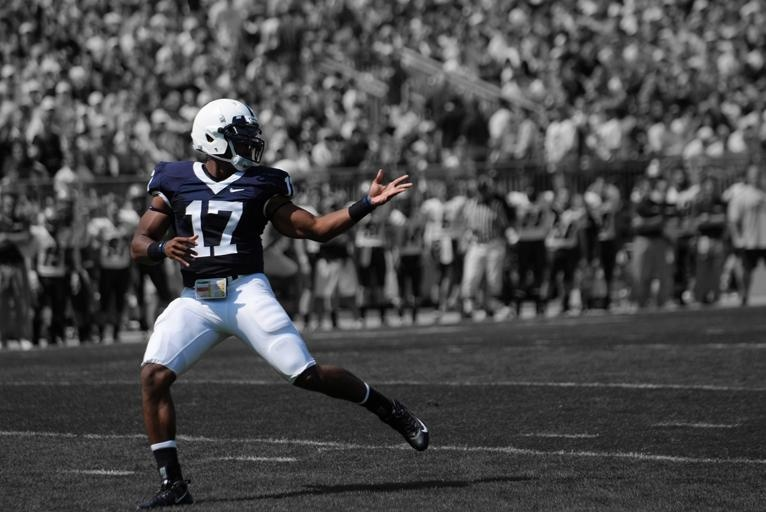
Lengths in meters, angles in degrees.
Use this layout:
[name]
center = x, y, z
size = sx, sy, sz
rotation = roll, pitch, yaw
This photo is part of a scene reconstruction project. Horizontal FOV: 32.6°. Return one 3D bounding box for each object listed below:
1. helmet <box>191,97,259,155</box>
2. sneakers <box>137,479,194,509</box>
[helmet]
center = -1.328, -1.064, 10.875
size = 0.543, 0.444, 0.429
rotation = -3, 2, 17
[sneakers]
center = -1.714, 1.920, 10.435
size = 0.544, 0.238, 0.176
rotation = 0, -3, -2
